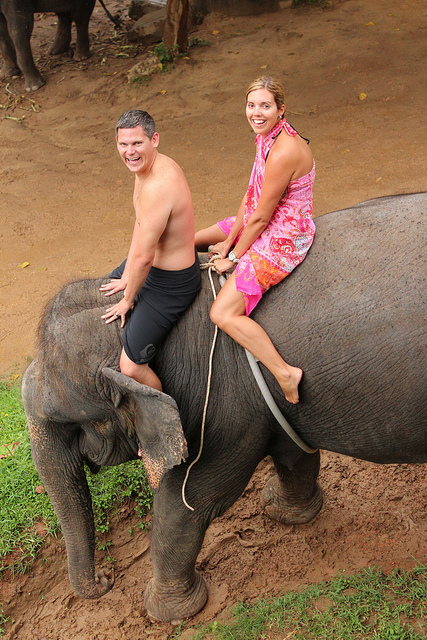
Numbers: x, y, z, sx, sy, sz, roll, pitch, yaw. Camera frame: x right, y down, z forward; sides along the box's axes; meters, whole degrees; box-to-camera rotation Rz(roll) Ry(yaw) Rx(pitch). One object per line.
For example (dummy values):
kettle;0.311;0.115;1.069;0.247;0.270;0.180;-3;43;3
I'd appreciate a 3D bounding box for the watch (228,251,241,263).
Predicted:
watch;0.076;-0.237;2.381;0.047;0.027;0.045;15;-2;-30

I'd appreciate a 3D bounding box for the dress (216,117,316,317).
dress;0.222;-0.389;2.321;0.344;0.658;0.512;-3;33;2

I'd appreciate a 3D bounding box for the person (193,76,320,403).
person;0.174;-0.291;2.346;0.481;1.129;0.778;-5;34;-1
